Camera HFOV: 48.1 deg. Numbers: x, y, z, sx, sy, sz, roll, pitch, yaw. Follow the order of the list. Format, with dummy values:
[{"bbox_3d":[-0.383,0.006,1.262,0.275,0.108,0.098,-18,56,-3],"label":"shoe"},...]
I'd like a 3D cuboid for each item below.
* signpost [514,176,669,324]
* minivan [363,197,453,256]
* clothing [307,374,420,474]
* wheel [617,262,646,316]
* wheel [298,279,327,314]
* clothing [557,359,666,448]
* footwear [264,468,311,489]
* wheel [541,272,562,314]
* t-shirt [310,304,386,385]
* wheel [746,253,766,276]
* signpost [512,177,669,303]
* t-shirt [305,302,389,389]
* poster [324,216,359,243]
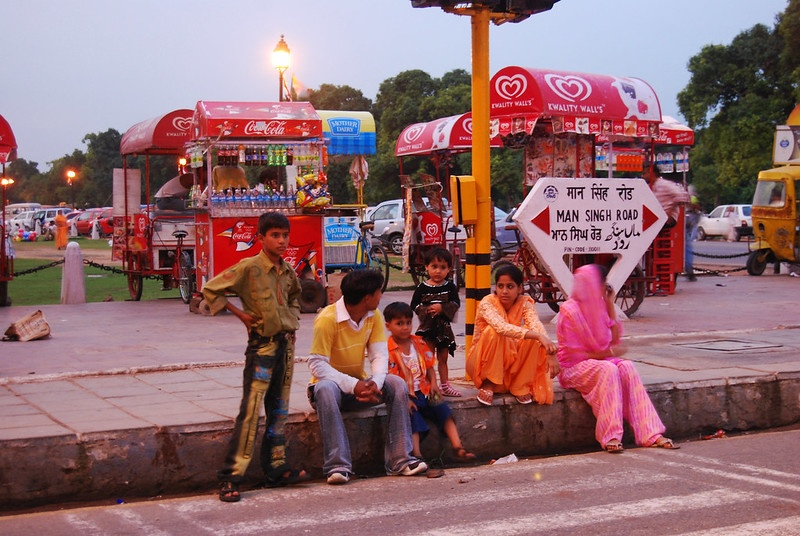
[{"bbox_3d":[2.598,-0.287,12.216,2.365,1.723,0.164,-2,1,-38],"label":"signpost"},{"bbox_3d":[-0.490,-1.426,29.537,1.512,1.381,2.392,-5,10,-34],"label":"minivan"},{"bbox_3d":[-0.307,1.323,8.294,0.954,1.141,1.154,-3,-2,10],"label":"clothing"},{"bbox_3d":[3.577,0.306,13.789,0.169,0.813,0.768,4,4,-4],"label":"wheel"},{"bbox_3d":[-1.400,0.443,14.119,0.546,0.565,0.208,-1,9,-13],"label":"wheel"},{"bbox_3d":[2.089,1.315,8.732,0.962,0.837,0.430,-1,3,9],"label":"clothing"},{"bbox_3d":[-0.984,1.845,7.949,0.419,0.177,0.154,-5,0,3],"label":"footwear"},{"bbox_3d":[2.284,0.335,13.392,0.158,0.636,0.629,-11,-9,30],"label":"wheel"},{"bbox_3d":[-0.489,0.712,8.272,0.737,0.792,0.703,0,1,-33],"label":"t-shirt"},{"bbox_3d":[8.712,-0.113,21.752,0.503,0.568,0.192,-2,15,-37],"label":"wheel"},{"bbox_3d":[2.631,-0.430,12.394,2.141,1.467,0.205,-2,0,-34],"label":"signpost"},{"bbox_3d":[-0.499,0.668,8.270,0.771,0.825,0.728,0,1,-33],"label":"t-shirt"},{"bbox_3d":[-1.075,-0.704,16.419,0.788,0.535,0.421,0,-2,-16],"label":"poster"}]
